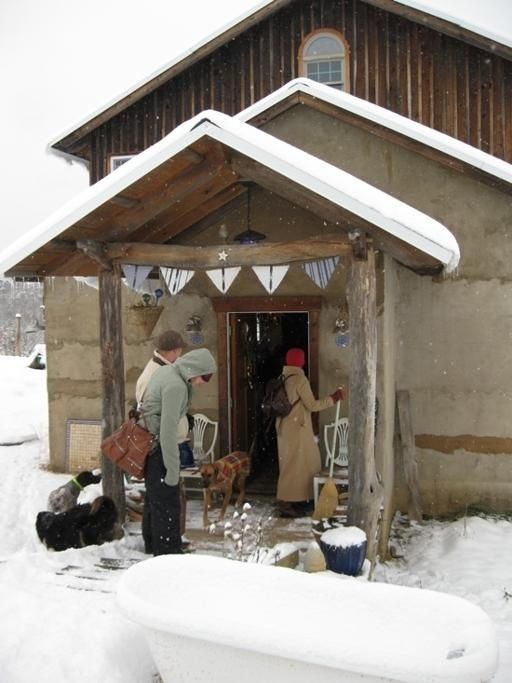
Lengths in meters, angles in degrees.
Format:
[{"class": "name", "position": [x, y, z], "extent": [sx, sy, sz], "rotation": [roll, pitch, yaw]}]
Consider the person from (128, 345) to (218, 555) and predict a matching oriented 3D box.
[{"class": "person", "position": [-0.644, 0.840, 6.487], "extent": [0.441, 1.563, 0.575], "rotation": [5, -5, -39]}]

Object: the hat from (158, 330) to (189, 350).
[{"class": "hat", "position": [-0.653, 0.005, 6.744], "extent": [0.132, 0.129, 0.196], "rotation": [8, 18, 29]}]

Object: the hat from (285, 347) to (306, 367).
[{"class": "hat", "position": [0.383, 0.160, 8.503], "extent": [0.137, 0.197, 0.192], "rotation": [3, 12, 9]}]

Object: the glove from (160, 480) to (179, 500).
[{"class": "glove", "position": [-0.626, 1.098, 6.412], "extent": [0.080, 0.142, 0.240], "rotation": [-1, -5, 27]}]

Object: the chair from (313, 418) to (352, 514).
[{"class": "chair", "position": [0.813, 1.271, 8.869], "extent": [0.524, 0.875, 0.602], "rotation": [2, -4, 7]}]

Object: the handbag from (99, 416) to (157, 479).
[{"class": "handbag", "position": [-0.960, 0.805, 6.575], "extent": [0.372, 0.391, 0.200], "rotation": [-44, -13, 7]}]

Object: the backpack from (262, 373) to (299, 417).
[{"class": "backpack", "position": [0.198, 0.547, 8.329], "extent": [0.355, 0.397, 0.282], "rotation": [-4, -6, -14]}]
